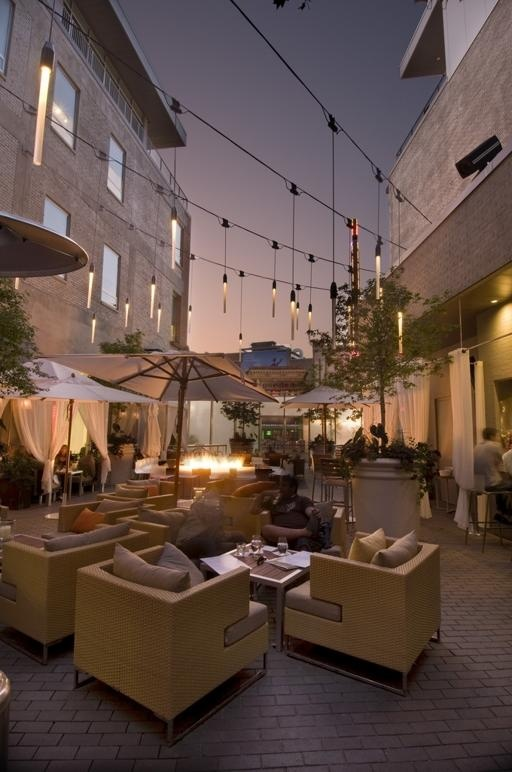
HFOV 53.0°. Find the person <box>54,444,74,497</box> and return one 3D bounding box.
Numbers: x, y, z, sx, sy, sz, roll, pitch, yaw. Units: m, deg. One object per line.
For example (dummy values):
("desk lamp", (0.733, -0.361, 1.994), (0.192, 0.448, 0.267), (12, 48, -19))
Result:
("person", (-4.131, 1.842, 11.008), (0.347, 1.218, 0.352), (3, 5, 1))

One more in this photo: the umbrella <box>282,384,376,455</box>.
("umbrella", (1.500, 0.411, 9.893), (1.405, 1.072, 1.562), (-2, -2, -5))

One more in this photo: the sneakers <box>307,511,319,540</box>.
("sneakers", (0.555, 1.338, 4.978), (0.069, 0.091, 0.249), (2, 38, 10))

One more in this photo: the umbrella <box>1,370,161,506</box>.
("umbrella", (-3.304, 0.669, 9.308), (2.406, 1.901, 2.433), (8, -9, -39))
